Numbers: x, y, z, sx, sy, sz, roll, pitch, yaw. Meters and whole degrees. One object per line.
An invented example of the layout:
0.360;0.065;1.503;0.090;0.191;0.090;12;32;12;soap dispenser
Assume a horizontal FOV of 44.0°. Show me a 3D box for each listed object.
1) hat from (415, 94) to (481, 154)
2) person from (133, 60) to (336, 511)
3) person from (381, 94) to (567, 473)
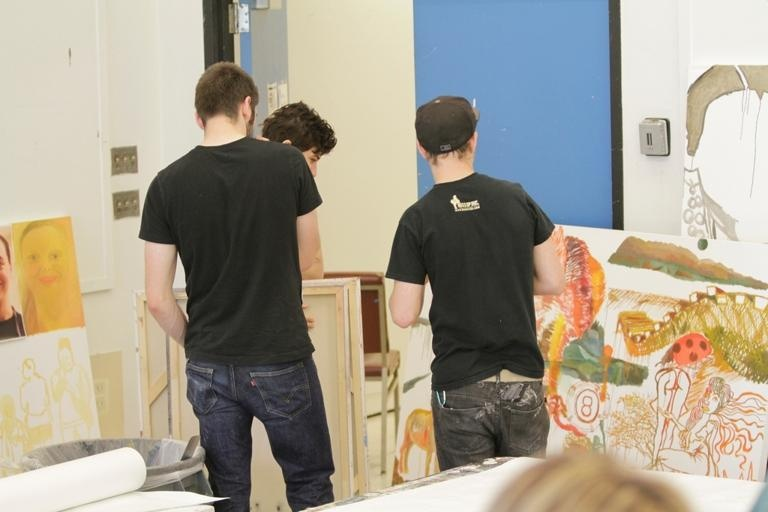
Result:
0.269;-0.546;3.822;0.248;0.209;0.361;-12;20;18;hat
-0.617;0.149;3.904;0.737;1.881;0.326;-3;3;-12;person
0.399;0.405;3.990;0.685;2.177;0.643;-4;13;-1;person
